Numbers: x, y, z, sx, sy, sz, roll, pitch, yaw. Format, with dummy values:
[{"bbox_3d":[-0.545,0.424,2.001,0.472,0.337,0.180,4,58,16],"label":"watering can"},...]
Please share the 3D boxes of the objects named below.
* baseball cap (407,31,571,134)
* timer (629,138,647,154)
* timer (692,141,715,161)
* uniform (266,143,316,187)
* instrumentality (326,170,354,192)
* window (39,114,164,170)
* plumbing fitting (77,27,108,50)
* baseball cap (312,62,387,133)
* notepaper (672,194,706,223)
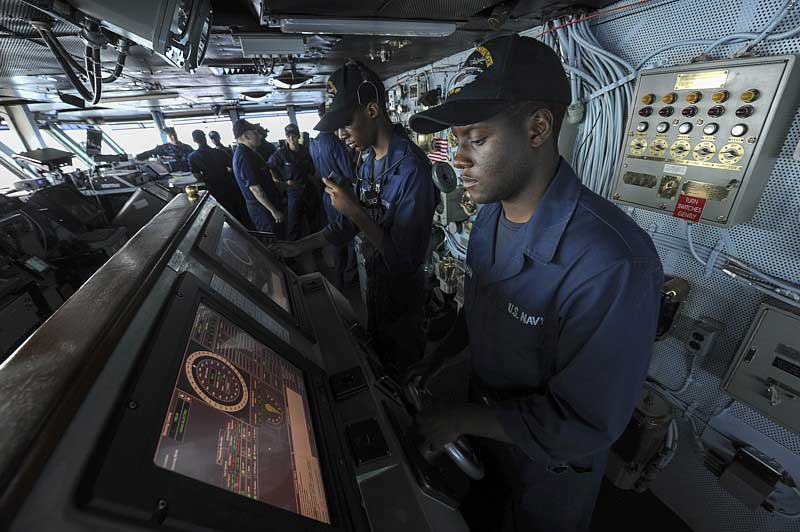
[{"bbox_3d":[0.344,-0.707,1.616,0.554,0.262,0.340,-1,18,0],"label":"baseball cap"},{"bbox_3d":[1.225,-0.618,2.108,0.018,0.069,0.072,3,10,-34],"label":"timer"},{"bbox_3d":[1.422,-0.536,1.915,0.085,0.083,0.036,21,40,36],"label":"timer"},{"bbox_3d":[-1.425,-1.313,5.413,0.768,0.557,0.308,-8,17,-31],"label":"uniform"},{"bbox_3d":[-0.335,-0.492,2.478,0.164,0.165,0.038,18,75,38],"label":"instrumentality"},{"bbox_3d":[-5.902,-2.348,7.683,1.061,0.915,1.844,-26,36,-32],"label":"window"},{"bbox_3d":[-1.433,-1.065,1.914,0.095,0.079,0.112,-20,34,-25],"label":"plumbing fitting"},{"bbox_3d":[-0.286,-1.016,2.522,0.495,0.277,0.339,-38,53,-17],"label":"baseball cap"},{"bbox_3d":[1.399,-0.282,1.973,0.014,0.127,0.132,-14,18,-32],"label":"notepaper"}]
